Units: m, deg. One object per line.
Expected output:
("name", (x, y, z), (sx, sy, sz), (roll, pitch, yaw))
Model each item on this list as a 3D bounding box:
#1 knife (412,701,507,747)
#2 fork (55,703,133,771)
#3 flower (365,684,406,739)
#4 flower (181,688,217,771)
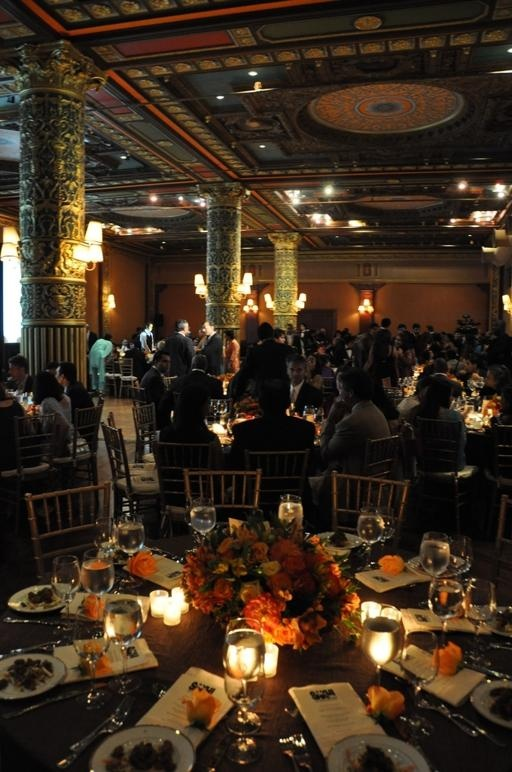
("knife", (0.419, 0.681, 1.133), (0.055, 0.011, 0.205), (-9, -3, -9))
("fork", (-0.309, 0.668, 1.081), (0.028, 0.021, 0.160), (0, 7, 15))
("flower", (0.274, 0.662, 1.144), (0.073, 0.071, 0.041), (42, 14, 34))
("flower", (-0.107, 0.659, 1.103), (0.075, 0.063, 0.089), (6, 10, -9))
